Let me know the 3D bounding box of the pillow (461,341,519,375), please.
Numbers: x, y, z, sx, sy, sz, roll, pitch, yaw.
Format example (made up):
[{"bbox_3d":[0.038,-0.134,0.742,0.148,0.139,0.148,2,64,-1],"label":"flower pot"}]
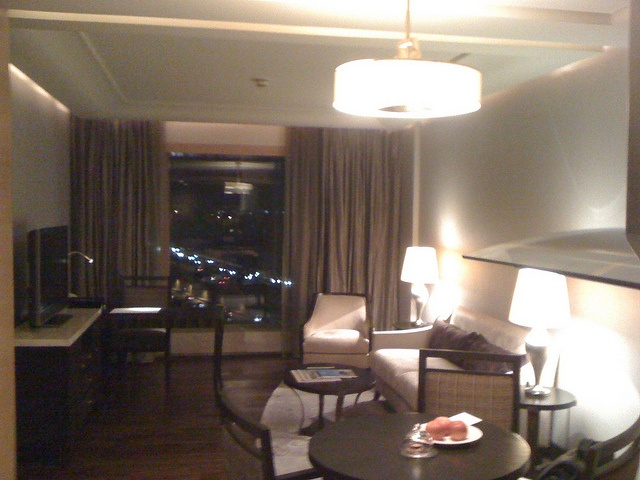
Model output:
[{"bbox_3d":[0.881,0.603,2.998,0.316,0.082,0.303,1,3,18],"label":"pillow"}]

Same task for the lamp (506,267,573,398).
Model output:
[{"bbox_3d":[1.069,0.443,2.859,0.254,0.619,0.304,-6,10,39],"label":"lamp"}]

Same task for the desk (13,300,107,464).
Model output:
[{"bbox_3d":[-1.417,0.766,3.178,0.400,0.530,1.152,-3,12,-15],"label":"desk"}]

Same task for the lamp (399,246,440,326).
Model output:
[{"bbox_3d":[0.799,0.335,4.495,0.281,0.605,0.407,-11,8,12],"label":"lamp"}]

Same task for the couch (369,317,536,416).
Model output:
[{"bbox_3d":[0.692,0.766,3.449,0.666,0.490,1.554,0,-3,0],"label":"couch"}]

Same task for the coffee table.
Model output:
[{"bbox_3d":[0.046,0.898,3.447,0.462,0.252,0.459,2,0,-42],"label":"coffee table"}]

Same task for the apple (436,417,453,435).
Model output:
[{"bbox_3d":[0.491,0.713,2.277,0.070,0.058,0.061,5,7,24],"label":"apple"}]

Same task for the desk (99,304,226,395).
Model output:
[{"bbox_3d":[-1.421,0.891,5.067,0.756,0.630,1.212,4,-3,-33],"label":"desk"}]
